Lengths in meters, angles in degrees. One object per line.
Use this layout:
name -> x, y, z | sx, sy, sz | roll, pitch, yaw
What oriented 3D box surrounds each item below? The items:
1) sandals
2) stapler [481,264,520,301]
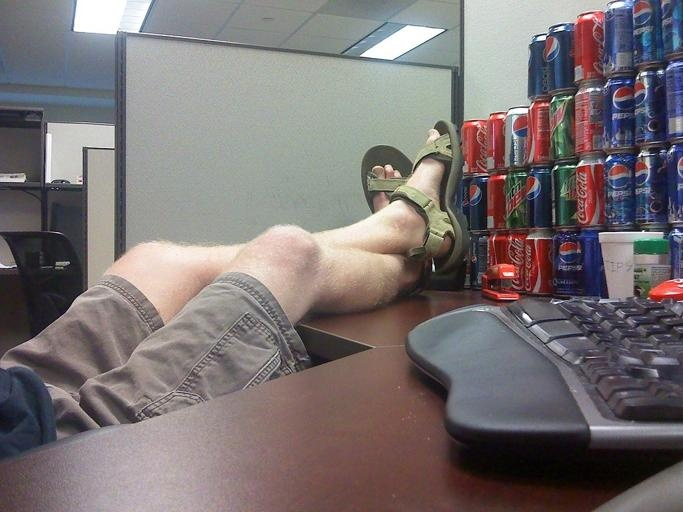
sandals -> 0.166, -0.131, 1.141 | 0.216, 0.389, 0.100 | -11, -21, 39
stapler -> 0.285, 0.047, 1.000 | 0.041, 0.055, 0.089 | -1, 0, -2
